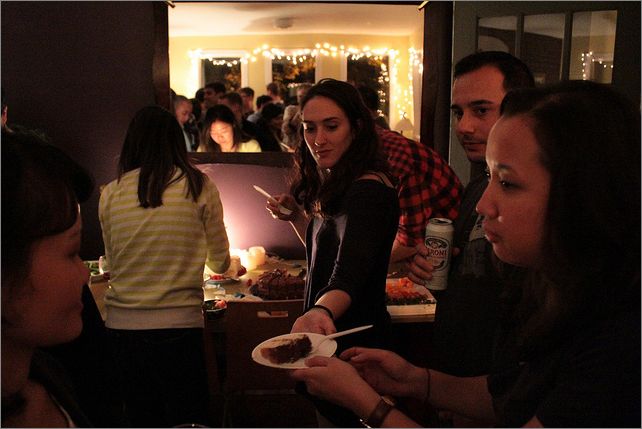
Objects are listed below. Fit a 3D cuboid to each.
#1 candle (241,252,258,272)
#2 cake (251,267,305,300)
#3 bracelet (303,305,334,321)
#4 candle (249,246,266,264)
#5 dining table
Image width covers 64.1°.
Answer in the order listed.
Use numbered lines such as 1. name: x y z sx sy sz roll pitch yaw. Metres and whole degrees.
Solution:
1. candle: -0.479 0.312 3.368 0.120 0.104 0.103 4 6 32
2. cake: -0.241 0.390 2.987 0.278 0.088 0.270 23 24 39
3. bracelet: 0.004 0.320 1.714 0.082 0.020 0.081 -2 6 -32
4. candle: -0.427 0.268 3.441 0.114 0.077 0.113 7 13 36
5. dining table: -0.259 0.527 2.141 1.411 0.837 0.297 2 -16 2
